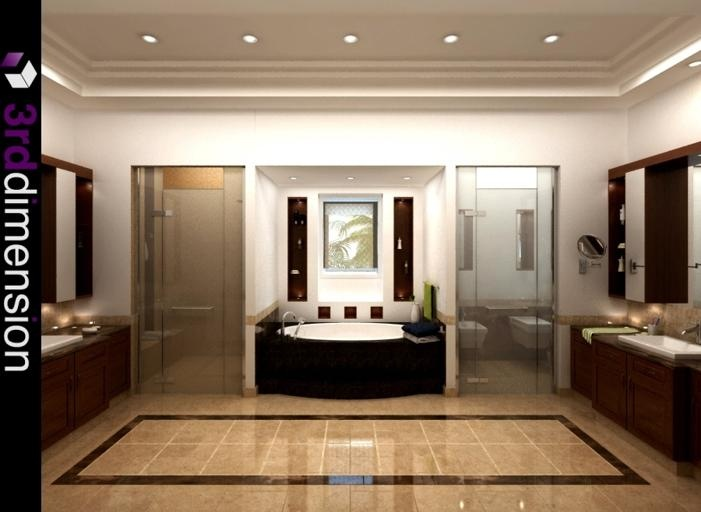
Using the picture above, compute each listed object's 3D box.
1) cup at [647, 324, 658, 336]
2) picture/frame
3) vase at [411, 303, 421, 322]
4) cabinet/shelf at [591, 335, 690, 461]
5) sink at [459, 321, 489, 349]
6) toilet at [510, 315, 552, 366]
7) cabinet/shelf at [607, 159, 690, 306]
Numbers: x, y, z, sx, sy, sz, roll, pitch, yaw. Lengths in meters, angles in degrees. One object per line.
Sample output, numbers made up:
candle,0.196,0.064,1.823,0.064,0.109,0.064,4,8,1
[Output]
cup,3.308,0.801,5.768,0.098,0.150,0.103,-3,0,0
picture/frame,-0.020,-0.355,7.947,1.212,1.754,0.087,0,1,2
vase,0.905,0.761,7.208,0.086,0.250,0.285,5,15,22
cabinet/shelf,2.873,1.353,5.286,0.674,0.923,1.320,1,1,2
sink,1.478,0.956,6.383,0.262,0.231,0.346,0,-5,3
toilet,2.200,0.994,6.419,0.406,0.389,0.589,0,1,-1
cabinet/shelf,3.330,-0.238,5.885,0.972,1.535,0.586,13,19,42
